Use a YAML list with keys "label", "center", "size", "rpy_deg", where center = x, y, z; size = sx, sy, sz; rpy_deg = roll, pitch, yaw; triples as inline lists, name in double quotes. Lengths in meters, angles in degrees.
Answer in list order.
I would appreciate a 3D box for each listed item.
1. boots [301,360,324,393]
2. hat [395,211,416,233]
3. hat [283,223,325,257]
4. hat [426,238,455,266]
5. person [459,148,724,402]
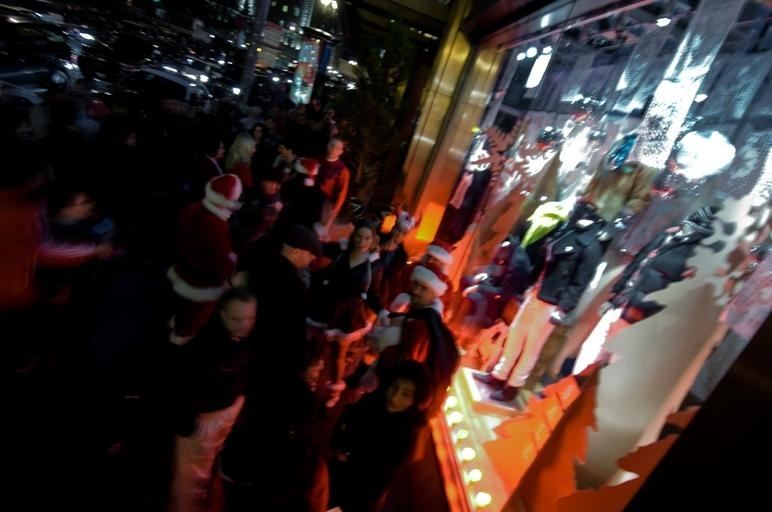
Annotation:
- label: "boots"
  center: [-0.617, 1.000, 4.155]
  size: [0.127, 0.276, 0.191]
  rpy_deg: [18, -4, 38]
- label: "hat"
  center: [0.175, -0.296, 4.664]
  size: [0.185, 0.184, 0.134]
  rpy_deg: [11, 55, 17]
- label: "hat"
  center: [-0.695, -0.093, 3.653]
  size: [0.401, 0.178, 0.269]
  rpy_deg: [3, -19, -8]
- label: "hat"
  center: [0.378, -0.035, 3.541]
  size: [0.159, 0.141, 0.192]
  rpy_deg: [19, 17, -19]
- label: "person"
  center: [1.362, 0.236, 3.839]
  size: [0.322, 2.264, 1.012]
  rpy_deg: [16, 22, -12]
